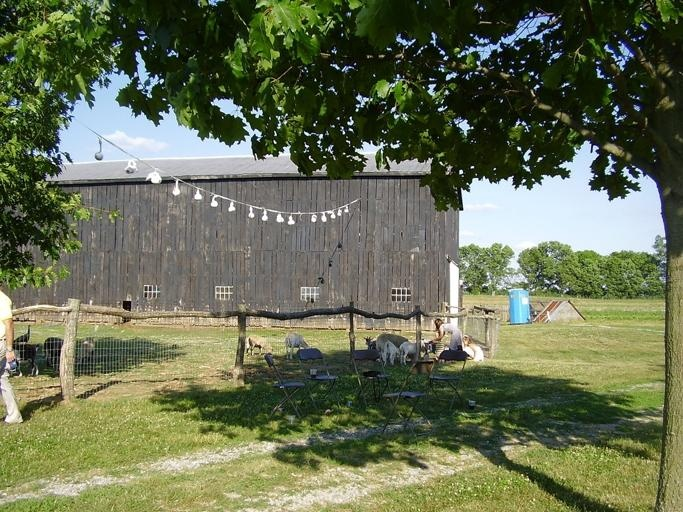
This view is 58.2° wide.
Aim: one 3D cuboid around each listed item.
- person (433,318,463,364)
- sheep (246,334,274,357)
[{"bbox_3d":[3.450,2.545,19.538,0.908,1.364,0.597,-10,8,30],"label":"person"},{"bbox_3d":[-2.920,3.084,21.657,0.894,0.874,1.890,0,5,-10],"label":"sheep"}]
